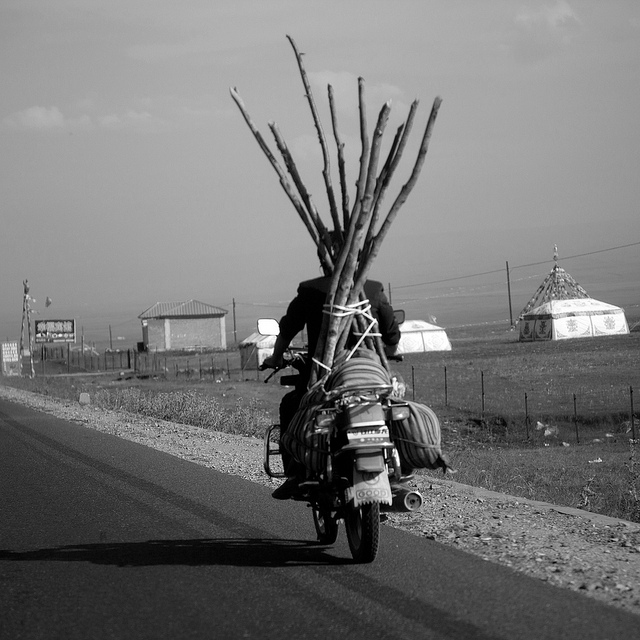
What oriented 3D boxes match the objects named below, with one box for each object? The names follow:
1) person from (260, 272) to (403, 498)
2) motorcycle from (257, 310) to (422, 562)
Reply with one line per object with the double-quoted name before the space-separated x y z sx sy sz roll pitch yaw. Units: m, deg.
"person" 0.133 0.299 6.151 0.906 1.423 1.899 2 3 -1
"motorcycle" -0.005 0.989 5.367 0.785 1.835 2.304 -1 -3 -18
